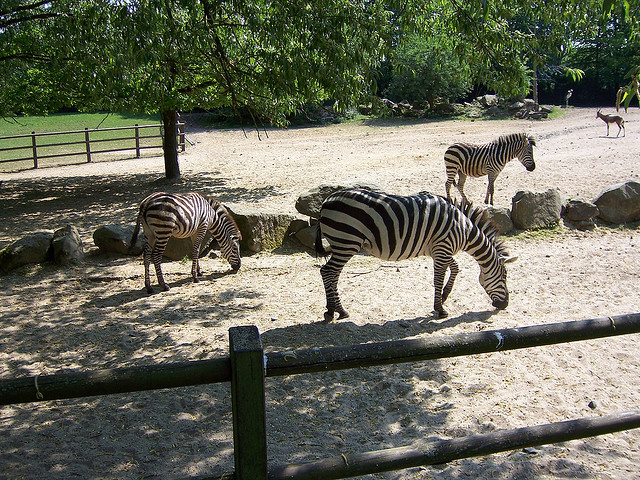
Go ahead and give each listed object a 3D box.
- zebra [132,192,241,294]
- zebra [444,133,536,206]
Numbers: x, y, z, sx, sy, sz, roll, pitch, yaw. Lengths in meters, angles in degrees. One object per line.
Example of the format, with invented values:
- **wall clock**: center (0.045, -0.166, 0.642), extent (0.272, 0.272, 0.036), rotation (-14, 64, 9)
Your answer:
- **zebra**: center (-2.105, -0.092, 9.966), extent (1.554, 1.332, 1.368), rotation (-13, 15, -34)
- **zebra**: center (3.390, -1.384, 13.254), extent (1.878, 1.476, 0.586), rotation (5, 14, 31)
